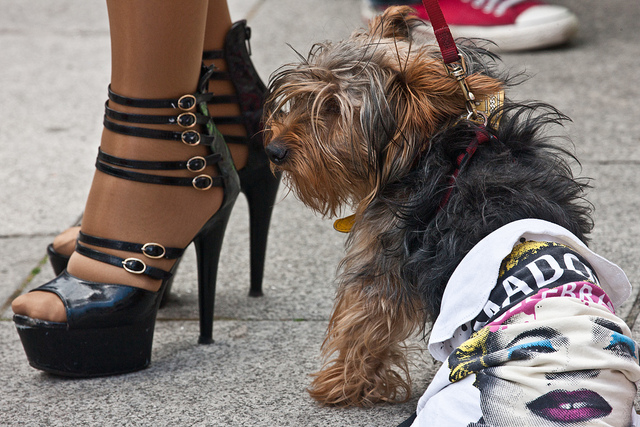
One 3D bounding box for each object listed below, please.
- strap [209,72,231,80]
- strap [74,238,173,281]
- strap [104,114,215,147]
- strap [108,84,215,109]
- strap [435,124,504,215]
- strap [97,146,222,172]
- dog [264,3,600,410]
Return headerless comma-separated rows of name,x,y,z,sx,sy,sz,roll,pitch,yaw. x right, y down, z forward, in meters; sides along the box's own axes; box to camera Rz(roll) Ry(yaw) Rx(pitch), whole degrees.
strap,-0.434,-0.592,3.008,0.095,0.012,0.017,-2,72,-30
strap,-0.788,0.190,2.798,0.291,0.040,0.176,21,-3,4
strap,-0.657,-0.354,2.863,0.470,0.077,0.286,-6,26,-36
strap,-0.623,-0.455,2.748,0.400,0.070,0.115,-3,35,-10
strap,0.507,-0.141,2.533,0.147,0.391,0.063,44,11,32
strap,-0.658,-0.197,2.910,0.548,0.088,0.343,-3,1,16
dog,0.332,-0.023,2.803,1.053,1.369,1.016,-10,41,-19
